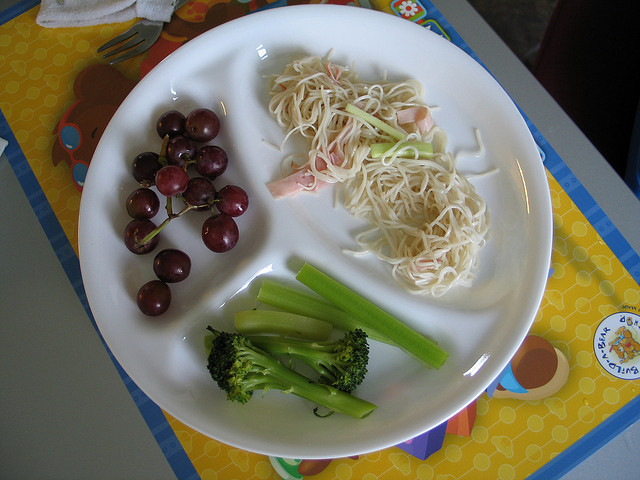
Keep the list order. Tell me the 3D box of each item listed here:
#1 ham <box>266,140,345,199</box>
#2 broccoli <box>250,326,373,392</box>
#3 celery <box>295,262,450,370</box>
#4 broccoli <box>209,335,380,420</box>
[{"bbox_3d":[-0.042,-0.278,2.395,0.325,0.263,0.263,1,34,23],"label":"ham"},{"bbox_3d":[-0.032,0.476,2.233,0.440,0.281,0.216,17,52,15],"label":"broccoli"},{"bbox_3d":[0.235,0.343,2.283,0.580,0.130,0.103,35,75,10],"label":"celery"},{"bbox_3d":[-0.140,0.600,2.231,0.676,0.287,0.262,17,19,6],"label":"broccoli"}]
